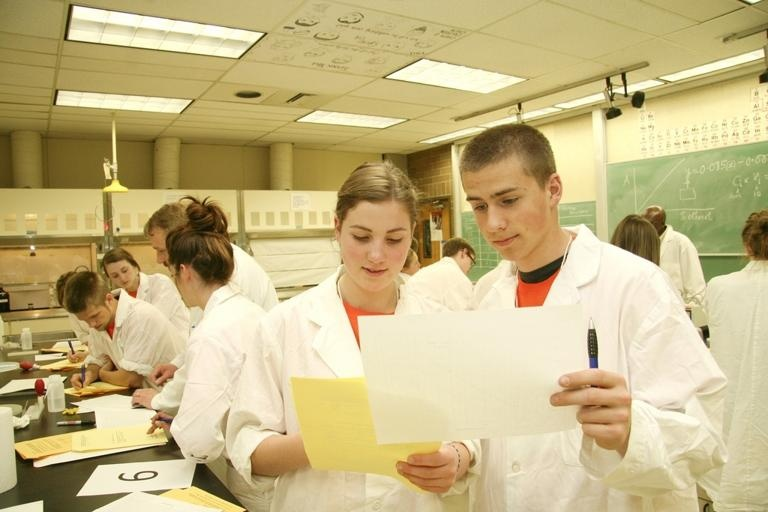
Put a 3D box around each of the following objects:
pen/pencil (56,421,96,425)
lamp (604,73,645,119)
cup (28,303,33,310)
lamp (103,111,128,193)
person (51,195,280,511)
[{"bbox_3d":[-1.621,0.879,2.844,0.125,0.012,0.013,3,26,-5],"label":"pen/pencil"},{"bbox_3d":[2.401,-1.582,5.413,0.335,0.414,0.930,3,11,21],"label":"lamp"},{"bbox_3d":[-3.811,0.546,5.803,0.061,0.057,0.088,1,-4,-30],"label":"cup"},{"bbox_3d":[-2.891,-1.067,5.707,0.208,0.818,2.704,-7,12,-25],"label":"lamp"},{"bbox_3d":[-1.127,0.715,3.876,1.344,2.641,1.197,-5,-14,6],"label":"person"}]
